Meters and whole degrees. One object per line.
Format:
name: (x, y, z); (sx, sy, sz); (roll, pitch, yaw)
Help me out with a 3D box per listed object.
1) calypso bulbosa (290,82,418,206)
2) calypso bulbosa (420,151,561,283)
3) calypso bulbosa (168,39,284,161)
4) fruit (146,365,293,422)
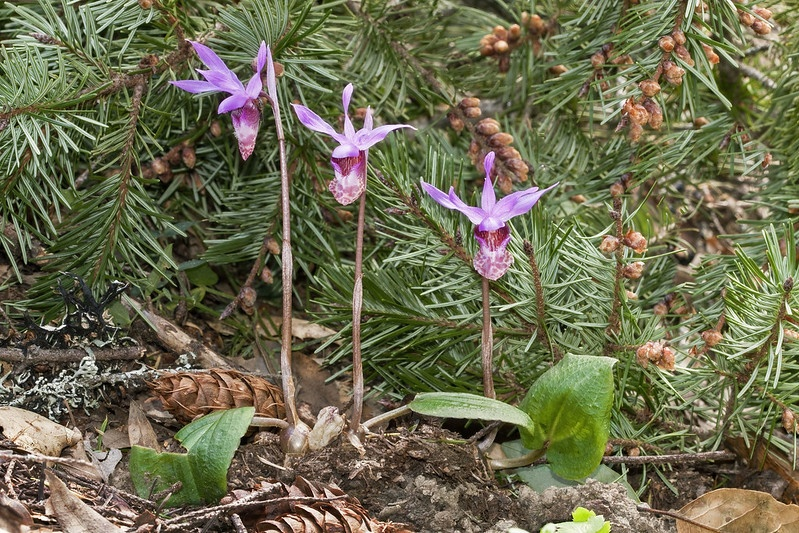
calypso bulbosa: (-0.108, -0.366, 2.621); (0.385, 0.346, 0.238); (-10, 38, -26)
calypso bulbosa: (0.313, -0.132, 2.624); (0.441, 0.197, 0.443); (-14, 45, -5)
calypso bulbosa: (-0.515, -0.540, 2.656); (0.362, 0.364, 0.347); (8, 8, 24)
fruit: (-0.601, 0.440, 2.778); (0.463, 0.204, 0.220); (10, 24, -32)
